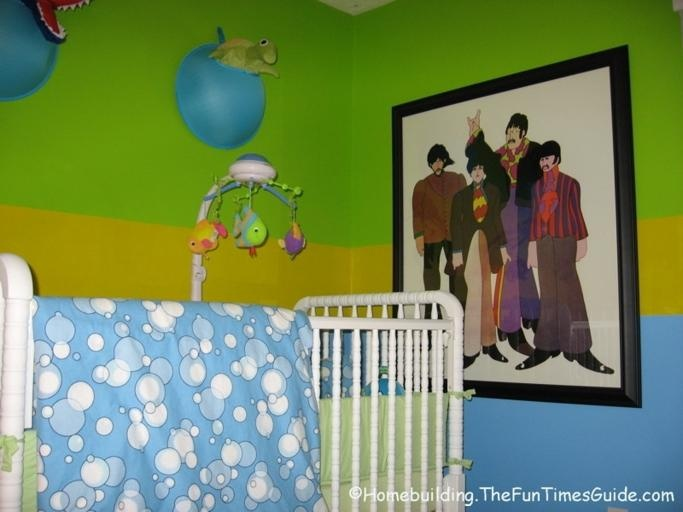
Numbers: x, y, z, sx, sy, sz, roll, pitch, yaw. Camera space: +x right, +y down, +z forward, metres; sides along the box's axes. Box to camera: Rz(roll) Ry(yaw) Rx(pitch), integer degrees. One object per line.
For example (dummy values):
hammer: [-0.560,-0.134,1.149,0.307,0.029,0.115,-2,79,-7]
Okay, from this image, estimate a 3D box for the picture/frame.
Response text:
picture/frame: [0.854,-0.103,4.216,0.071,2.044,1.442,2,-5,-40]

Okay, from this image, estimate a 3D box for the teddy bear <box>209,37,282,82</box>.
teddy bear: [-0.411,-0.969,4.372,0.397,0.149,0.198,9,-15,-43]
